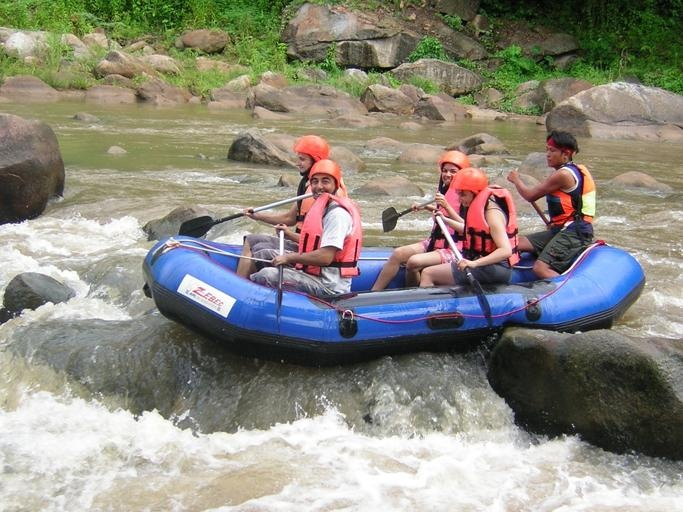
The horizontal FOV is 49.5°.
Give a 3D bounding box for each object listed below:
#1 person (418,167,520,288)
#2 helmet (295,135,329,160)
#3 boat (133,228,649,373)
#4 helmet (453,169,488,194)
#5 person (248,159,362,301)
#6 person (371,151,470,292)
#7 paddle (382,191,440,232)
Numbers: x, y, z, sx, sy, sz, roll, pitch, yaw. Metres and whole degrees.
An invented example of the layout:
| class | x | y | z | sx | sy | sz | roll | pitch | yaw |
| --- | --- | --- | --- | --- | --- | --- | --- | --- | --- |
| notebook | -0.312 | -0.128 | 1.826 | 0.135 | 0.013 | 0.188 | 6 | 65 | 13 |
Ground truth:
| class | x | y | z | sx | sy | sz | roll | pitch | yaw |
| --- | --- | --- | --- | --- | --- | --- | --- | --- | --- |
| person | 1.293 | -0.164 | 7.431 | 1.262 | 1.289 | 0.853 | -3 | 12 | 13 |
| helmet | -0.293 | -1.133 | 7.706 | 0.386 | 0.218 | 0.253 | -10 | 27 | -24 |
| boat | 0.419 | 0.499 | 7.080 | 3.760 | 0.559 | 1.812 | -1 | 7 | -9 |
| helmet | 1.268 | -0.744 | 7.330 | 0.366 | 0.224 | 0.243 | 20 | 1 | -3 |
| person | -0.474 | -0.154 | 7.211 | 1.479 | 1.360 | 1.020 | 2 | 14 | 8 |
| person | 0.920 | -0.271 | 7.760 | 1.418 | 1.716 | 0.794 | 3 | 21 | 5 |
| paddle | 0.704 | -0.449 | 8.055 | 0.847 | 0.223 | 0.161 | -20 | -23 | 28 |
